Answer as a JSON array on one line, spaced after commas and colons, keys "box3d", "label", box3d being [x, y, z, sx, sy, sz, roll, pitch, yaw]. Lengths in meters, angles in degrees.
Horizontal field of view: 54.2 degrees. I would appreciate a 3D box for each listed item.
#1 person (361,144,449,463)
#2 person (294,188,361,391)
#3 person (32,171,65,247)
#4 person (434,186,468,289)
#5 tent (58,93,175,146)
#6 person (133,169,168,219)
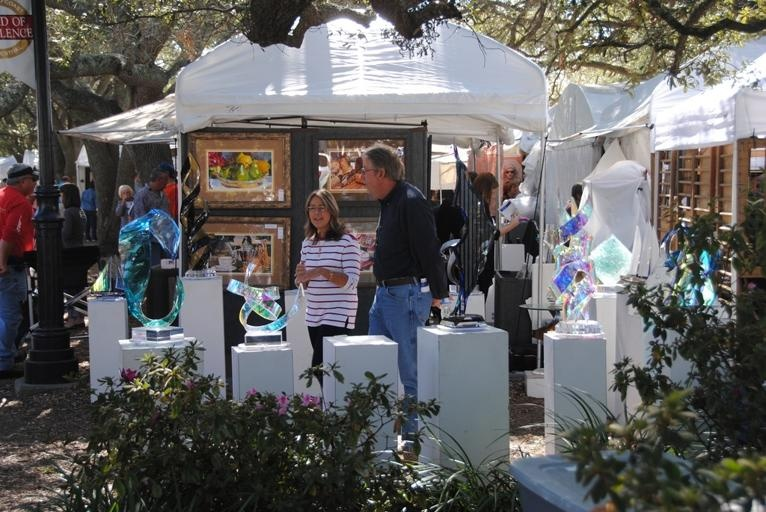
[{"box3d": [0.175, 0.155, 6.064, 0.683, 2.154, 0.433, 0, -2, 9], "label": "person"}, {"box3d": [-0.459, 0.168, 6.411, 0.520, 1.497, 0.480, 0, -2, 1], "label": "person"}, {"box3d": [-3.801, -0.516, 8.554, 0.302, 0.838, 0.350, 1, -2, -25], "label": "person"}, {"box3d": [0.699, -0.327, 8.149, 0.538, 0.861, 0.192, 7, 5, 26], "label": "person"}, {"box3d": [-3.681, -1.994, 11.489, 1.589, 0.495, 1.682, -5, 4, 19], "label": "tent"}, {"box3d": [-3.641, -1.007, 11.804, 0.575, 0.796, 0.385, 1, -2, -33], "label": "person"}]
